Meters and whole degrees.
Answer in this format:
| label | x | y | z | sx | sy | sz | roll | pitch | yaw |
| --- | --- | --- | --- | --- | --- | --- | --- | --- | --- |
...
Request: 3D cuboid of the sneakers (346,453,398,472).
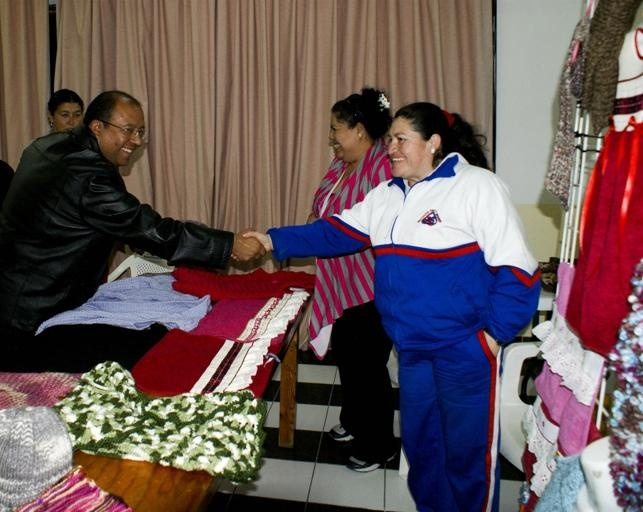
| label | x | y | z | sx | sy | sz | roll | pitch | yaw |
| --- | --- | --- | --- | --- | --- | --- | --- | --- | --- |
| sneakers | 0.243 | 0.942 | 2.515 | 0.215 | 0.091 | 0.085 | 4 | 3 | -12 |
